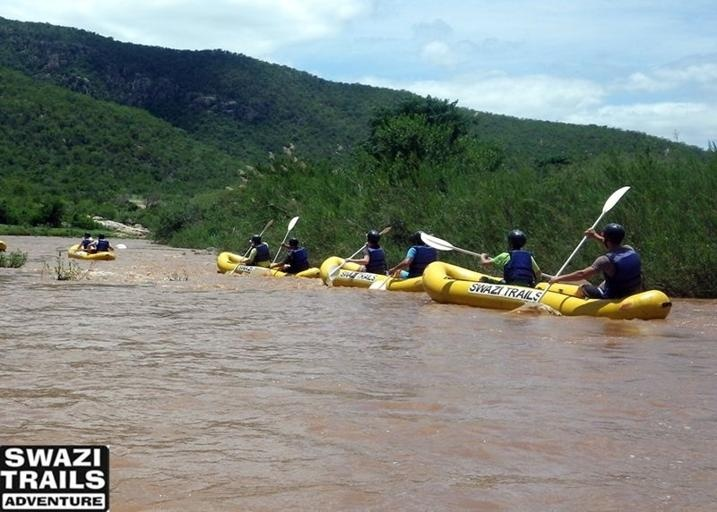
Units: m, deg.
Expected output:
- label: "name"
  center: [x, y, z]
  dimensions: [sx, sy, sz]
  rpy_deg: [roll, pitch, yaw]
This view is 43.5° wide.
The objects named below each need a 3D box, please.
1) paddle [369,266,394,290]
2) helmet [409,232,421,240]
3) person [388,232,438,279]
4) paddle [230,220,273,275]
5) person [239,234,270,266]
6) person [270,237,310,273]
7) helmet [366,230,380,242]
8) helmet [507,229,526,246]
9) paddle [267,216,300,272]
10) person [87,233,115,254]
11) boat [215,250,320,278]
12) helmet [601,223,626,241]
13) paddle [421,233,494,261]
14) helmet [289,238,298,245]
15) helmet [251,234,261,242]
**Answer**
- label: "paddle"
  center: [0.483, 0.506, 18.091]
  dimensions: [0.212, 0.087, 0.981]
  rpy_deg: [0, 20, 24]
- label: "helmet"
  center: [1.115, -0.376, 17.460]
  dimensions: [0.234, 0.085, 0.278]
  rpy_deg: [1, 1, 8]
- label: "person"
  center: [1.292, 0.030, 17.884]
  dimensions: [0.728, 0.922, 1.029]
  rpy_deg: [0, 11, 2]
- label: "paddle"
  center: [-3.339, -0.261, 28.165]
  dimensions: [0.777, 0.748, 1.948]
  rpy_deg: [19, 41, 32]
- label: "person"
  center: [-2.515, -0.137, 22.912]
  dimensions: [0.722, 0.826, 0.868]
  rpy_deg: [-6, 7, -37]
- label: "person"
  center: [-1.556, -0.011, 21.539]
  dimensions: [0.702, 0.827, 0.916]
  rpy_deg: [-6, 14, -29]
- label: "helmet"
  center: [0.341, -0.406, 18.656]
  dimensions: [0.237, 0.236, 0.270]
  rpy_deg: [6, 2, -18]
- label: "helmet"
  center: [2.597, -0.277, 14.805]
  dimensions: [0.248, 0.236, 0.297]
  rpy_deg: [4, 5, 7]
- label: "paddle"
  center: [-2.251, -0.314, 26.749]
  dimensions: [0.303, 2.487, 0.130]
  rpy_deg: [28, -36, 6]
- label: "person"
  center: [-7.915, -0.358, 27.414]
  dimensions: [0.620, 0.423, 0.884]
  rpy_deg: [1, 5, -19]
- label: "boat"
  center: [-2.533, 0.347, 22.338]
  dimensions: [3.297, 0.436, 0.980]
  rpy_deg: [6, 7, 32]
- label: "helmet"
  center: [3.787, -0.356, 13.213]
  dimensions: [0.287, 0.289, 0.329]
  rpy_deg: [-6, 14, -10]
- label: "paddle"
  center: [2.162, -0.185, 19.208]
  dimensions: [1.985, 0.254, 0.134]
  rpy_deg: [15, -29, -21]
- label: "helmet"
  center: [-1.554, -0.316, 21.490]
  dimensions: [0.193, 0.209, 0.486]
  rpy_deg: [-2, 12, -11]
- label: "helmet"
  center: [-2.577, -0.455, 22.651]
  dimensions: [0.216, 0.121, 0.239]
  rpy_deg: [-5, -4, -28]
